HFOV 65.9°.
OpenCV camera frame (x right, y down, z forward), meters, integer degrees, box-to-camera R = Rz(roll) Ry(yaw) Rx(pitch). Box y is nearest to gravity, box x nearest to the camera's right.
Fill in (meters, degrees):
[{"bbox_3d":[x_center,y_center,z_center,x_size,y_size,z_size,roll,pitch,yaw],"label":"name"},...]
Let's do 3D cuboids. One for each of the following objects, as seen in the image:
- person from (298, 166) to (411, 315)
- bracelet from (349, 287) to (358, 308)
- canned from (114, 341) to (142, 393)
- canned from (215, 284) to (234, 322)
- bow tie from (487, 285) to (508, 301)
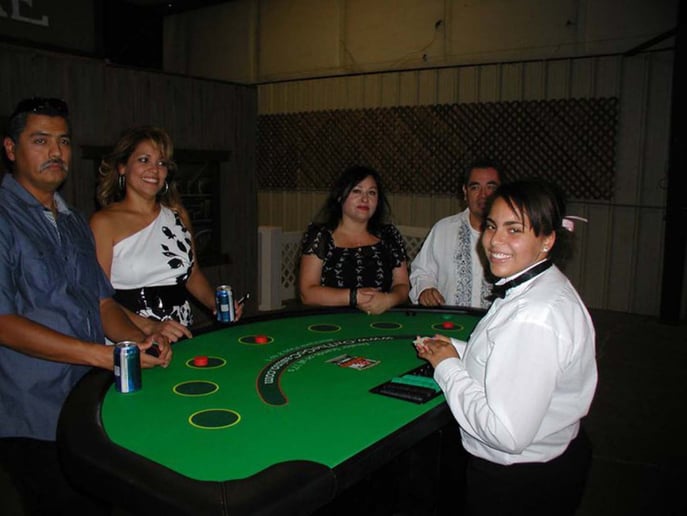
[{"bbox_3d":[0.083,-0.189,4.122,0.871,1.070,0.853,1,7,7],"label":"person"},{"bbox_3d":[0.075,0.285,3.890,0.054,0.114,0.105,-2,8,-17],"label":"bracelet"},{"bbox_3d":[-0.993,0.499,2.450,0.114,0.228,0.121,-4,8,-25],"label":"canned"},{"bbox_3d":[-0.772,0.292,3.468,0.124,0.235,0.128,-11,25,-30],"label":"canned"},{"bbox_3d":[0.899,0.196,3.112,0.151,0.049,0.110,-21,9,38],"label":"bow tie"}]
